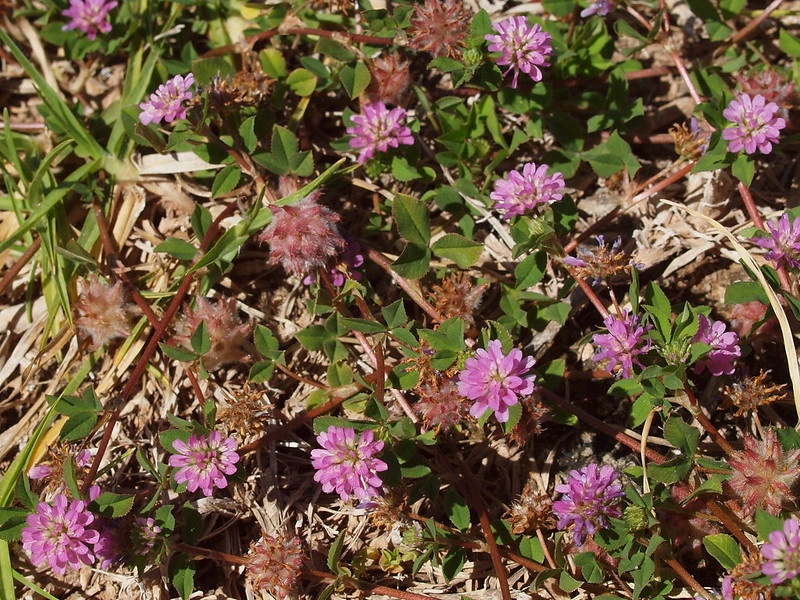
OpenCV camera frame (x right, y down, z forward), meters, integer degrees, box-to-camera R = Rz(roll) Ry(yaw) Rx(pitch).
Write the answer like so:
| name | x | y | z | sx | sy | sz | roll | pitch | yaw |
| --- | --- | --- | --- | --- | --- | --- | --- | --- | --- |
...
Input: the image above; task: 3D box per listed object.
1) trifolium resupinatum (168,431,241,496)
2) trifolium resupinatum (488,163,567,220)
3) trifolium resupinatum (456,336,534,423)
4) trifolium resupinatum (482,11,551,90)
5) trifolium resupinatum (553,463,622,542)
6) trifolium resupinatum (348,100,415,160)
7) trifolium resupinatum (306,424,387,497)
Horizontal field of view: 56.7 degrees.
| name | x | y | z | sx | sy | sz | roll | pitch | yaw |
| --- | --- | --- | --- | --- | --- | --- | --- | --- | --- |
| trifolium resupinatum | -0.876 | 0.643 | 3.258 | 0.276 | 0.281 | 0.119 | -3 | 96 | -39 |
| trifolium resupinatum | 0.608 | -0.520 | 3.393 | 0.340 | 0.384 | 0.170 | 1 | 90 | 8 |
| trifolium resupinatum | 0.407 | 0.342 | 3.119 | 0.327 | 0.187 | 0.271 | -39 | 72 | -18 |
| trifolium resupinatum | 0.559 | -1.200 | 3.522 | 0.322 | 0.208 | 0.227 | 40 | 69 | 15 |
| trifolium resupinatum | 0.792 | 0.798 | 3.106 | 0.263 | 0.329 | 0.190 | 2 | 91 | 12 |
| trifolium resupinatum | -0.100 | -0.818 | 3.708 | 0.288 | 0.129 | 0.314 | -17 | 77 | -9 |
| trifolium resupinatum | -0.212 | 0.621 | 3.136 | 0.385 | 0.431 | 0.139 | 5 | 101 | 14 |
